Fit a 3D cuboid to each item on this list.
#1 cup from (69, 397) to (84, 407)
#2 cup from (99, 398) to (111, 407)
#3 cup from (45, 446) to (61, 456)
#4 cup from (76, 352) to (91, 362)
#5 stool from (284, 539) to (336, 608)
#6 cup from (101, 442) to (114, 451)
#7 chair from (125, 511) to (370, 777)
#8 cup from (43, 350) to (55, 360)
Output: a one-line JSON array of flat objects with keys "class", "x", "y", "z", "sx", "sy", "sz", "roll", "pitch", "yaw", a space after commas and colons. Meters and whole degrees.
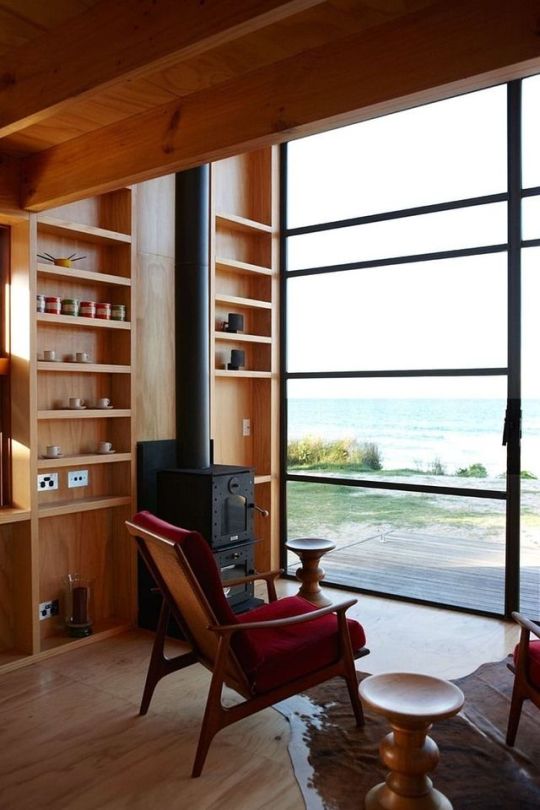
[{"class": "cup", "x": -1.081, "y": -0.011, "z": 3.280, "sx": 0.041, "sy": 0.050, "sz": 0.067, "roll": -3, "pitch": -11, "yaw": -6}, {"class": "cup", "x": -0.968, "y": -0.011, "z": 3.440, "sx": 0.036, "sy": 0.046, "sz": 0.064, "roll": -4, "pitch": -6, "yaw": 8}, {"class": "cup", "x": -1.165, "y": 0.248, "z": 3.163, "sx": 0.045, "sy": 0.054, "sz": 0.061, "roll": -6, "pitch": -9, "yaw": 34}, {"class": "cup", "x": -1.047, "y": -0.262, "z": 3.305, "sx": 0.065, "sy": 0.051, "sz": 0.052, "roll": 0, "pitch": -2, "yaw": -35}, {"class": "stool", "x": 0.217, "y": 0.959, "z": 3.443, "sx": 0.301, "sy": 0.387, "sz": 0.323, "roll": -1, "pitch": -3, "yaw": -6}, {"class": "cup", "x": -0.955, "y": 0.242, "z": 3.434, "sx": 0.037, "sy": 0.048, "sz": 0.064, "roll": -5, "pitch": -10, "yaw": 4}, {"class": "chair", "x": -0.078, "y": 0.811, "z": 2.484, "sx": 0.924, "sy": 1.028, "sz": 0.730, "roll": -4, "pitch": 2, "yaw": -32}, {"class": "cup", "x": -1.168, "y": -0.263, "z": 3.122, "sx": 0.054, "sy": 0.043, "sz": 0.047, "roll": -2, "pitch": -1, "yaw": 10}]
